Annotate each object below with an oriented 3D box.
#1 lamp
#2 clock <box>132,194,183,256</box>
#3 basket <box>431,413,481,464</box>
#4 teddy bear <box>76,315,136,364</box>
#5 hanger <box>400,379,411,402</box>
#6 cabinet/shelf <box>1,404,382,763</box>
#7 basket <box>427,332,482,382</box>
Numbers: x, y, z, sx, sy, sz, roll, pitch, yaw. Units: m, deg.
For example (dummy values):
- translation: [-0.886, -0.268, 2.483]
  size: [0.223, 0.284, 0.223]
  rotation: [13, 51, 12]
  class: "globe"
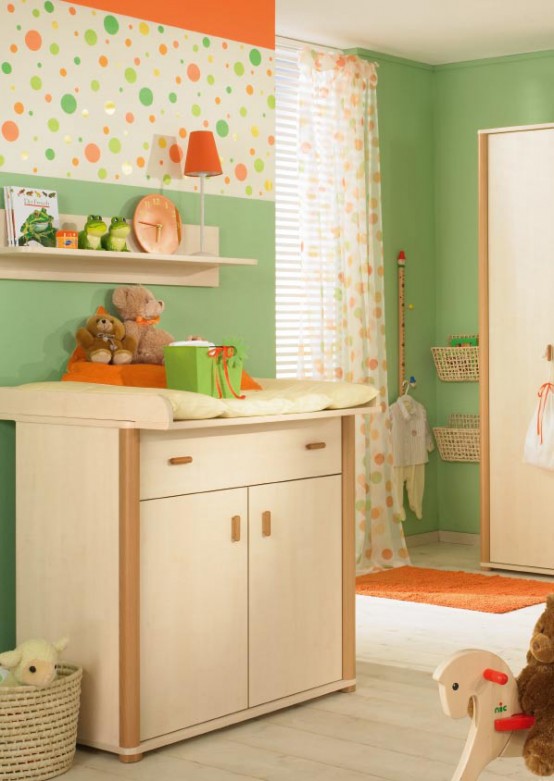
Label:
- translation: [-0.263, -0.721, 2.351]
  size: [0.129, 0.506, 0.296]
  rotation: [0, -7, -5]
  class: "lamp"
- translation: [-0.413, -0.570, 2.264]
  size: [0.194, 0.220, 0.039]
  rotation: [5, -9, -42]
  class: "clock"
- translation: [1.207, 0.317, 4.388]
  size: [0.245, 0.242, 0.336]
  rotation: [1, 2, 22]
  class: "basket"
- translation: [-0.525, -0.151, 1.974]
  size: [0.172, 0.165, 0.150]
  rotation: [-1, -7, 0]
  class: "teddy bear"
- translation: [0.829, -0.005, 4.279]
  size: [0.064, 0.149, 0.185]
  rotation: [-4, -8, 23]
  class: "hanger"
- translation: [-0.183, 0.461, 2.106]
  size: [0.833, 1.149, 1.208]
  rotation: [-1, 0, 38]
  class: "cabinet/shelf"
- translation: [1.186, -0.223, 4.369]
  size: [0.366, 0.252, 0.533]
  rotation: [0, -1, 17]
  class: "basket"
